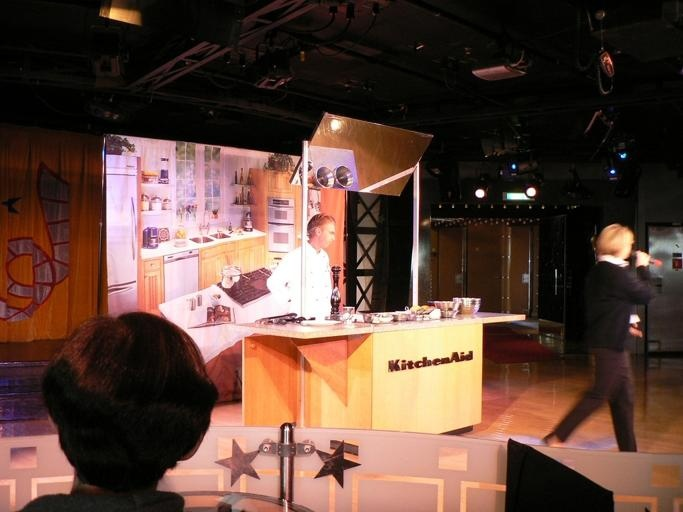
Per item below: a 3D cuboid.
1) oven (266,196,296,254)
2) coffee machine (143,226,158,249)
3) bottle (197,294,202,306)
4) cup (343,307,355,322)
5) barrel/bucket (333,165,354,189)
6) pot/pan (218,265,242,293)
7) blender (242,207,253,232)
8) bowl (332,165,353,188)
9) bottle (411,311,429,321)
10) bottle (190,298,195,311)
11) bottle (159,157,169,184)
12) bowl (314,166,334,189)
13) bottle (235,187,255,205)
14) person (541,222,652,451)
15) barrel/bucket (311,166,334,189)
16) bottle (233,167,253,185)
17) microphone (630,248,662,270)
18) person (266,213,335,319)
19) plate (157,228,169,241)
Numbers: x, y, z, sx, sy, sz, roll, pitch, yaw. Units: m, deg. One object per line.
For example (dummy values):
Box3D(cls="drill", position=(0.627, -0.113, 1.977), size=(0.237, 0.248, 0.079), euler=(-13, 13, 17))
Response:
Box3D(cls="oven", position=(-0.711, -0.407, 7.406), size=(0.394, 0.675, 0.375), euler=(6, 12, 21))
Box3D(cls="coffee machine", position=(-2.075, -0.195, 6.413), size=(0.195, 0.218, 0.177), euler=(0, 1, 10))
Box3D(cls="bottle", position=(-1.605, 0.503, 6.625), size=(0.053, 0.130, 0.010), euler=(11, -13, -37))
Box3D(cls="cup", position=(0.056, 0.486, 4.894), size=(0.106, 0.152, 0.245), euler=(3, -11, 1))
Box3D(cls="barrel/bucket", position=(0.012, -0.663, 4.983), size=(0.166, 0.176, 0.096), euler=(-9, 10, -40))
Box3D(cls="pot/pan", position=(-1.302, 0.252, 6.844), size=(0.200, 0.199, 0.260), euler=(1, -5, -13))
Box3D(cls="blender", position=(-1.118, -0.416, 7.011), size=(0.070, 0.262, 0.161), euler=(-5, -13, 37))
Box3D(cls="bowl", position=(0.017, -0.661, 4.982), size=(0.080, 0.162, 0.252), euler=(-4, -13, 33))
Box3D(cls="bottle", position=(0.704, 0.539, 5.263), size=(0.120, 0.099, 0.255), euler=(-1, -12, 20))
Box3D(cls="bottle", position=(-1.671, 0.542, 6.586), size=(0.067, 0.135, 0.013), euler=(10, -13, -35))
Box3D(cls="bottle", position=(-1.952, -0.931, 6.467), size=(0.117, 0.288, 0.043), euler=(7, -11, -22))
Box3D(cls="bowl", position=(-0.145, -0.642, 4.825), size=(0.074, 0.156, 0.148), euler=(6, 3, 43))
Box3D(cls="bottle", position=(-1.162, -0.695, 6.943), size=(0.216, 0.222, 0.044), euler=(11, -13, -35))
Box3D(cls="person", position=(1.902, 0.566, 4.293), size=(0.682, 1.605, 0.378), euler=(-3, -12, 29))
Box3D(cls="barrel/bucket", position=(-0.150, -0.646, 4.836), size=(0.096, 0.144, 0.264), euler=(-6, -15, 40))
Box3D(cls="bottle", position=(-1.161, -0.926, 6.931), size=(0.222, 0.204, 0.034), euler=(10, -12, -32))
Box3D(cls="microphone", position=(3.703, 0.040, 7.135), size=(0.261, 0.230, 0.910), euler=(29, 14, 31))
Box3D(cls="person", position=(-0.353, 0.099, 5.064), size=(0.556, 0.927, 0.891), euler=(3, -11, -2))
Box3D(cls="plate", position=(-1.949, -0.223, 6.452), size=(0.120, 0.127, 0.041), euler=(2, 3, -35))
